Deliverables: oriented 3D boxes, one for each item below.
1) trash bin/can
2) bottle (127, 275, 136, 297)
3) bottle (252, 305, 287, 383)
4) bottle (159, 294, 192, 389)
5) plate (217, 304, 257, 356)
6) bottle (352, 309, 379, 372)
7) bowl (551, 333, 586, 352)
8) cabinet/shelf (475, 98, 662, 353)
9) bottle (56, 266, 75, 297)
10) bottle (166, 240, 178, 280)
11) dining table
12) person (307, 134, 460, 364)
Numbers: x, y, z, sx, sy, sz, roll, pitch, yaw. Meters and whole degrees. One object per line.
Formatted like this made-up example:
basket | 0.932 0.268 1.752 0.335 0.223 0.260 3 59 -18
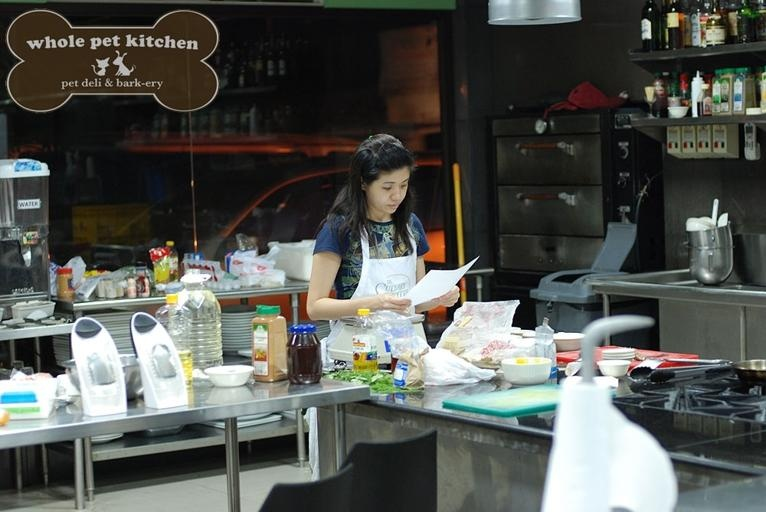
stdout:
trash bin/can | 1.515 0.248 5.580 0.789 0.968 0.769 -3 5 26
bottle | -1.735 0.216 5.133 0.068 0.139 0.059 -6 5 -36
bottle | -0.401 0.303 2.641 0.128 0.260 0.171 -4 4 -6
bottle | -0.711 0.284 2.555 0.111 0.307 0.452 -5 5 -19
plate | -1.067 0.535 5.592 0.350 0.343 0.404 -1 3 -30
bottle | -0.078 0.314 2.955 0.105 0.248 0.307 -3 5 -2
bowl | 0.786 0.372 3.172 0.103 0.071 0.077 -1 5 19
cabinet/shelf | 1.625 -0.132 6.260 0.877 2.142 1.208 -9 10 -37
bottle | -2.141 0.181 4.992 0.102 0.204 0.154 -5 5 -24
bottle | -1.570 0.024 5.557 0.089 0.283 0.374 -4 5 -16
dining table | -0.965 0.883 3.372 1.251 0.582 1.003 -2 2 -40
person | -0.022 -0.051 3.176 0.616 0.932 0.490 -5 5 -21
